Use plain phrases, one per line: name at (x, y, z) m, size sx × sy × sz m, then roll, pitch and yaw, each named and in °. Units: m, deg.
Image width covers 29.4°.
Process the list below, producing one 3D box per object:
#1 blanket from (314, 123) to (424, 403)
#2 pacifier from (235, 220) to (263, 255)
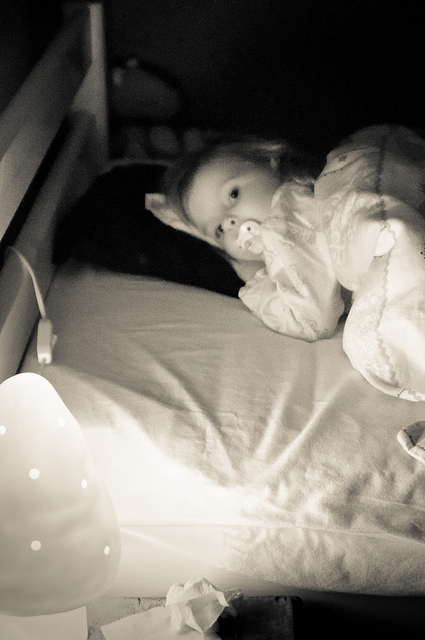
blanket at (0.361, -0.146, 1.888) m, size 0.348 × 0.519 × 0.151 m, roll -7°, pitch -8°, yaw -1°
pacifier at (0.085, -0.188, 1.856) m, size 0.064 × 0.070 × 0.024 m, roll 8°, pitch 1°, yaw 11°
